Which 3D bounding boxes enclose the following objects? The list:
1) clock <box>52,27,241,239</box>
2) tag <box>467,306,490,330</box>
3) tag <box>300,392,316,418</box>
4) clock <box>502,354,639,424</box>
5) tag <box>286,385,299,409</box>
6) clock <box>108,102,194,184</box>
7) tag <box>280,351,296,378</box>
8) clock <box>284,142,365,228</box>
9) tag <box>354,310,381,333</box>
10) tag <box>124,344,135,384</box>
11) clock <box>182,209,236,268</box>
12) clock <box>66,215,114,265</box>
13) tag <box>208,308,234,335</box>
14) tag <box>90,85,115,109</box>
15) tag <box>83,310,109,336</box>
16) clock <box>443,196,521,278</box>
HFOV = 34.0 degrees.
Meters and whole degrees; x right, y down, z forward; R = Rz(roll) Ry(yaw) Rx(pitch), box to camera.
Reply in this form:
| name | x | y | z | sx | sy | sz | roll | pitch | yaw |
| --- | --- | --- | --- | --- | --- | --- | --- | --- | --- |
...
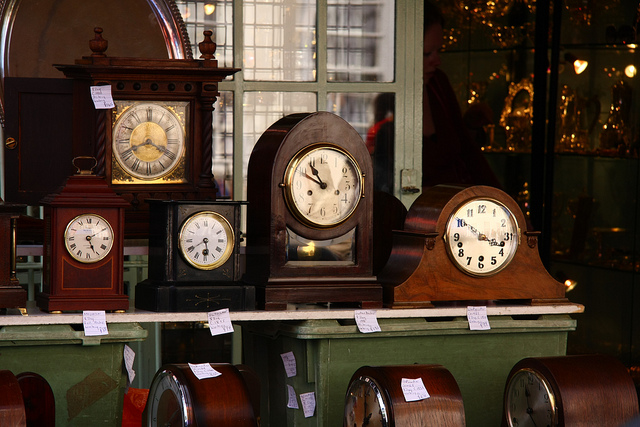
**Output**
| name | x | y | z | sx | sy | sz | roll | pitch | yaw |
| --- | --- | --- | --- | --- | --- | --- | --- | --- | --- |
| clock | -1.034 | -0.462 | 5.967 | 1.235 | 1.564 | 0.601 | 0 | 1 | -21 |
| tag | 0.880 | 0.583 | 5.881 | 0.122 | 0.134 | 0.009 | -3 | -16 | -19 |
| tag | -0.064 | 1.040 | 5.758 | 0.118 | 0.162 | 0.018 | -6 | -6 | -7 |
| clock | 1.344 | 0.923 | 5.490 | 0.389 | 0.517 | 0.517 | 1 | -2 | -16 |
| tag | -0.148 | 1.011 | 5.813 | 0.010 | 0.124 | 0.088 | -1 | 2 | -40 |
| clock | -0.986 | -0.416 | 5.994 | 0.443 | 0.448 | 0.160 | 1 | -1 | -15 |
| tag | -0.174 | 0.831 | 5.831 | 0.015 | 0.193 | 0.142 | -10 | 1 | -31 |
| clock | 0.001 | -0.160 | 5.779 | 0.440 | 0.459 | 0.064 | -1 | -2 | -16 |
| tag | 0.258 | 0.584 | 5.748 | 0.142 | 0.117 | 0.051 | 0 | 2 | 0 |
| tag | -1.032 | 0.807 | 5.698 | 0.047 | 0.227 | 0.200 | 0 | 2 | -8 |
| clock | -0.627 | 0.139 | 5.703 | 0.303 | 0.315 | 0.074 | 9 | -1 | -18 |
| clock | -1.230 | 0.133 | 5.561 | 0.251 | 0.289 | 0.038 | 0 | -4 | -12 |
| tag | -0.535 | 0.571 | 5.623 | 0.125 | 0.128 | 0.081 | 0 | 2 | -12 |
| tag | -1.217 | -0.658 | 5.899 | 0.127 | 0.134 | 0.048 | 0 | 2 | -12 |
| tag | -1.183 | 0.575 | 5.523 | 0.124 | 0.135 | 0.017 | -2 | -15 | -16 |
| clock | 0.886 | 0.121 | 5.895 | 0.437 | 0.446 | 0.063 | 0 | -1 | -14 |
